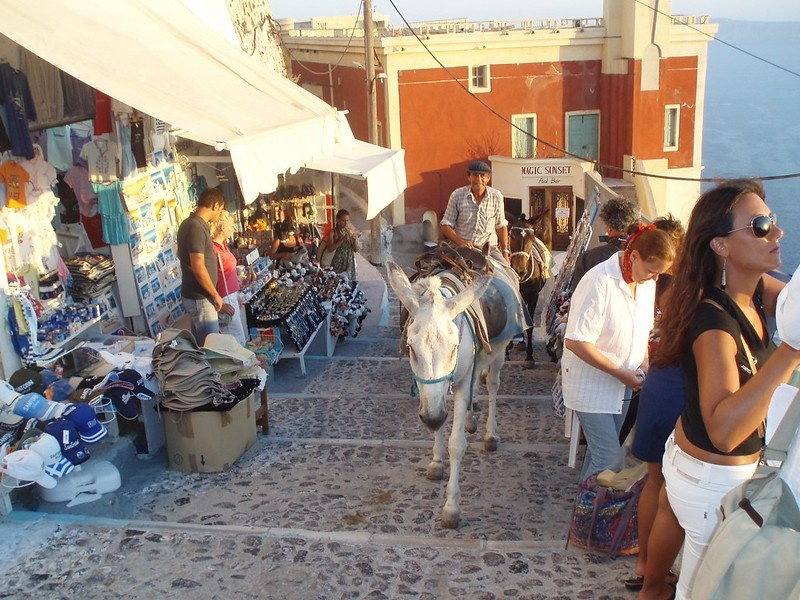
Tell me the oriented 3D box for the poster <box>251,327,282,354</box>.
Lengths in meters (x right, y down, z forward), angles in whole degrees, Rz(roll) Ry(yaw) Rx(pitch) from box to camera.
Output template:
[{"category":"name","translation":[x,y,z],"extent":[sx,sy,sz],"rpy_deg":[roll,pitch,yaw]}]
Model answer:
[{"category":"poster","translation":[-2.077,0.607,8.950],"extent":[0.375,0.265,0.406],"rpy_deg":[0,29,-3]}]

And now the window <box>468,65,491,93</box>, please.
[{"category":"window","translation":[3.976,-11.357,29.558],"extent":[1.201,1.564,0.433],"rpy_deg":[0,28,1]}]

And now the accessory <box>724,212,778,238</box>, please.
[{"category":"accessory","translation":[1.877,-0.399,3.031],"extent":[0.327,0.110,0.147],"rpy_deg":[-11,19,-23]}]

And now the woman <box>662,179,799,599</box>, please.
[{"category":"woman","translation":[1.673,0.518,3.099],"extent":[0.599,2.158,0.909],"rpy_deg":[6,19,25]}]

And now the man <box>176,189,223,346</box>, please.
[{"category":"man","translation":[-2.759,-0.371,8.023],"extent":[0.704,2.676,0.862],"rpy_deg":[-5,41,-21]}]

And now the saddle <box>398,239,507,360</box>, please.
[{"category":"saddle","translation":[0.474,-0.255,6.682],"extent":[0.570,1.118,2.010],"rpy_deg":[0,16,14]}]

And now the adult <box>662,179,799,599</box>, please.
[{"category":"adult","translation":[1.674,0.517,3.102],"extent":[0.599,2.158,0.916],"rpy_deg":[6,19,25]}]

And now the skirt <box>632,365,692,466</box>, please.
[{"category":"skirt","translation":[1.758,0.664,3.844],"extent":[0.228,0.392,0.769],"rpy_deg":[0,40,29]}]

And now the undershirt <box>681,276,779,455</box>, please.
[{"category":"undershirt","translation":[1.638,0.345,2.919],"extent":[0.414,0.910,0.653],"rpy_deg":[-3,16,9]}]

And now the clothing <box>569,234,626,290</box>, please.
[{"category":"clothing","translation":[2.073,-0.403,6.138],"extent":[0.206,0.851,0.444],"rpy_deg":[28,2,34]}]

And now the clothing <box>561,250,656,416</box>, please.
[{"category":"clothing","translation":[1.736,0.300,5.018],"extent":[0.587,1.426,1.092],"rpy_deg":[1,0,43]}]

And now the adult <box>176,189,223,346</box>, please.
[{"category":"adult","translation":[-2.759,-0.371,8.023],"extent":[0.704,2.676,0.862],"rpy_deg":[-5,41,-21]}]
